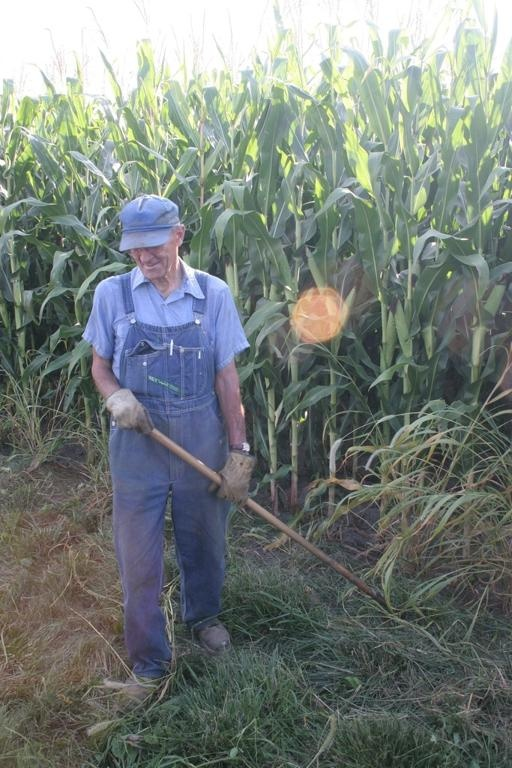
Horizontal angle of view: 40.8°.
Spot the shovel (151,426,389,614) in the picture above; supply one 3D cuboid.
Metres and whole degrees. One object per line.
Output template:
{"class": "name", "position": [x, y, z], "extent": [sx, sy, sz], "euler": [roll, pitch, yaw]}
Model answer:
{"class": "shovel", "position": [0.089, 0.664, 3.195], "extent": [0.086, 1.193, 0.088], "euler": [-49, 17, -13]}

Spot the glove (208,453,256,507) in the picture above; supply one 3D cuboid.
{"class": "glove", "position": [-0.070, 0.366, 2.680], "extent": [0.145, 0.200, 0.073], "euler": [12, -2, -12]}

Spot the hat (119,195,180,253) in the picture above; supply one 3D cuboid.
{"class": "hat", "position": [-0.385, -0.591, 2.482], "extent": [0.217, 0.161, 0.318], "euler": [-3, 24, 18]}

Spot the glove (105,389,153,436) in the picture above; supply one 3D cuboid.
{"class": "glove", "position": [-0.465, 0.106, 2.509], "extent": [0.133, 0.150, 0.189], "euler": [-11, 13, -25]}

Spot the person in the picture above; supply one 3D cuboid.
{"class": "person", "position": [-0.352, 0.259, 2.694], "extent": [0.582, 1.913, 0.561], "euler": [-10, 19, -32]}
